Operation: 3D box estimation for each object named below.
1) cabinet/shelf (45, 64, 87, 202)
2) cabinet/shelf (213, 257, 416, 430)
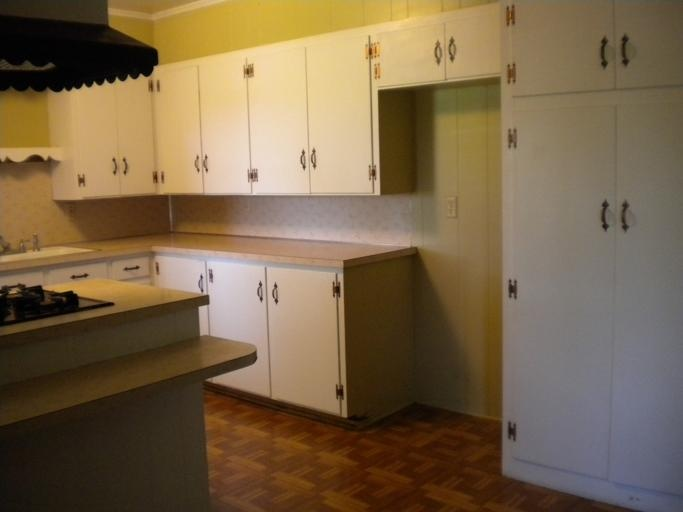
[{"bbox_3d":[-2.440,-0.965,5.079,0.296,0.289,1.232,-2,-31,-26],"label":"cabinet/shelf"},{"bbox_3d":[-0.254,0.536,4.452,1.545,1.608,0.920,3,6,38],"label":"cabinet/shelf"}]
